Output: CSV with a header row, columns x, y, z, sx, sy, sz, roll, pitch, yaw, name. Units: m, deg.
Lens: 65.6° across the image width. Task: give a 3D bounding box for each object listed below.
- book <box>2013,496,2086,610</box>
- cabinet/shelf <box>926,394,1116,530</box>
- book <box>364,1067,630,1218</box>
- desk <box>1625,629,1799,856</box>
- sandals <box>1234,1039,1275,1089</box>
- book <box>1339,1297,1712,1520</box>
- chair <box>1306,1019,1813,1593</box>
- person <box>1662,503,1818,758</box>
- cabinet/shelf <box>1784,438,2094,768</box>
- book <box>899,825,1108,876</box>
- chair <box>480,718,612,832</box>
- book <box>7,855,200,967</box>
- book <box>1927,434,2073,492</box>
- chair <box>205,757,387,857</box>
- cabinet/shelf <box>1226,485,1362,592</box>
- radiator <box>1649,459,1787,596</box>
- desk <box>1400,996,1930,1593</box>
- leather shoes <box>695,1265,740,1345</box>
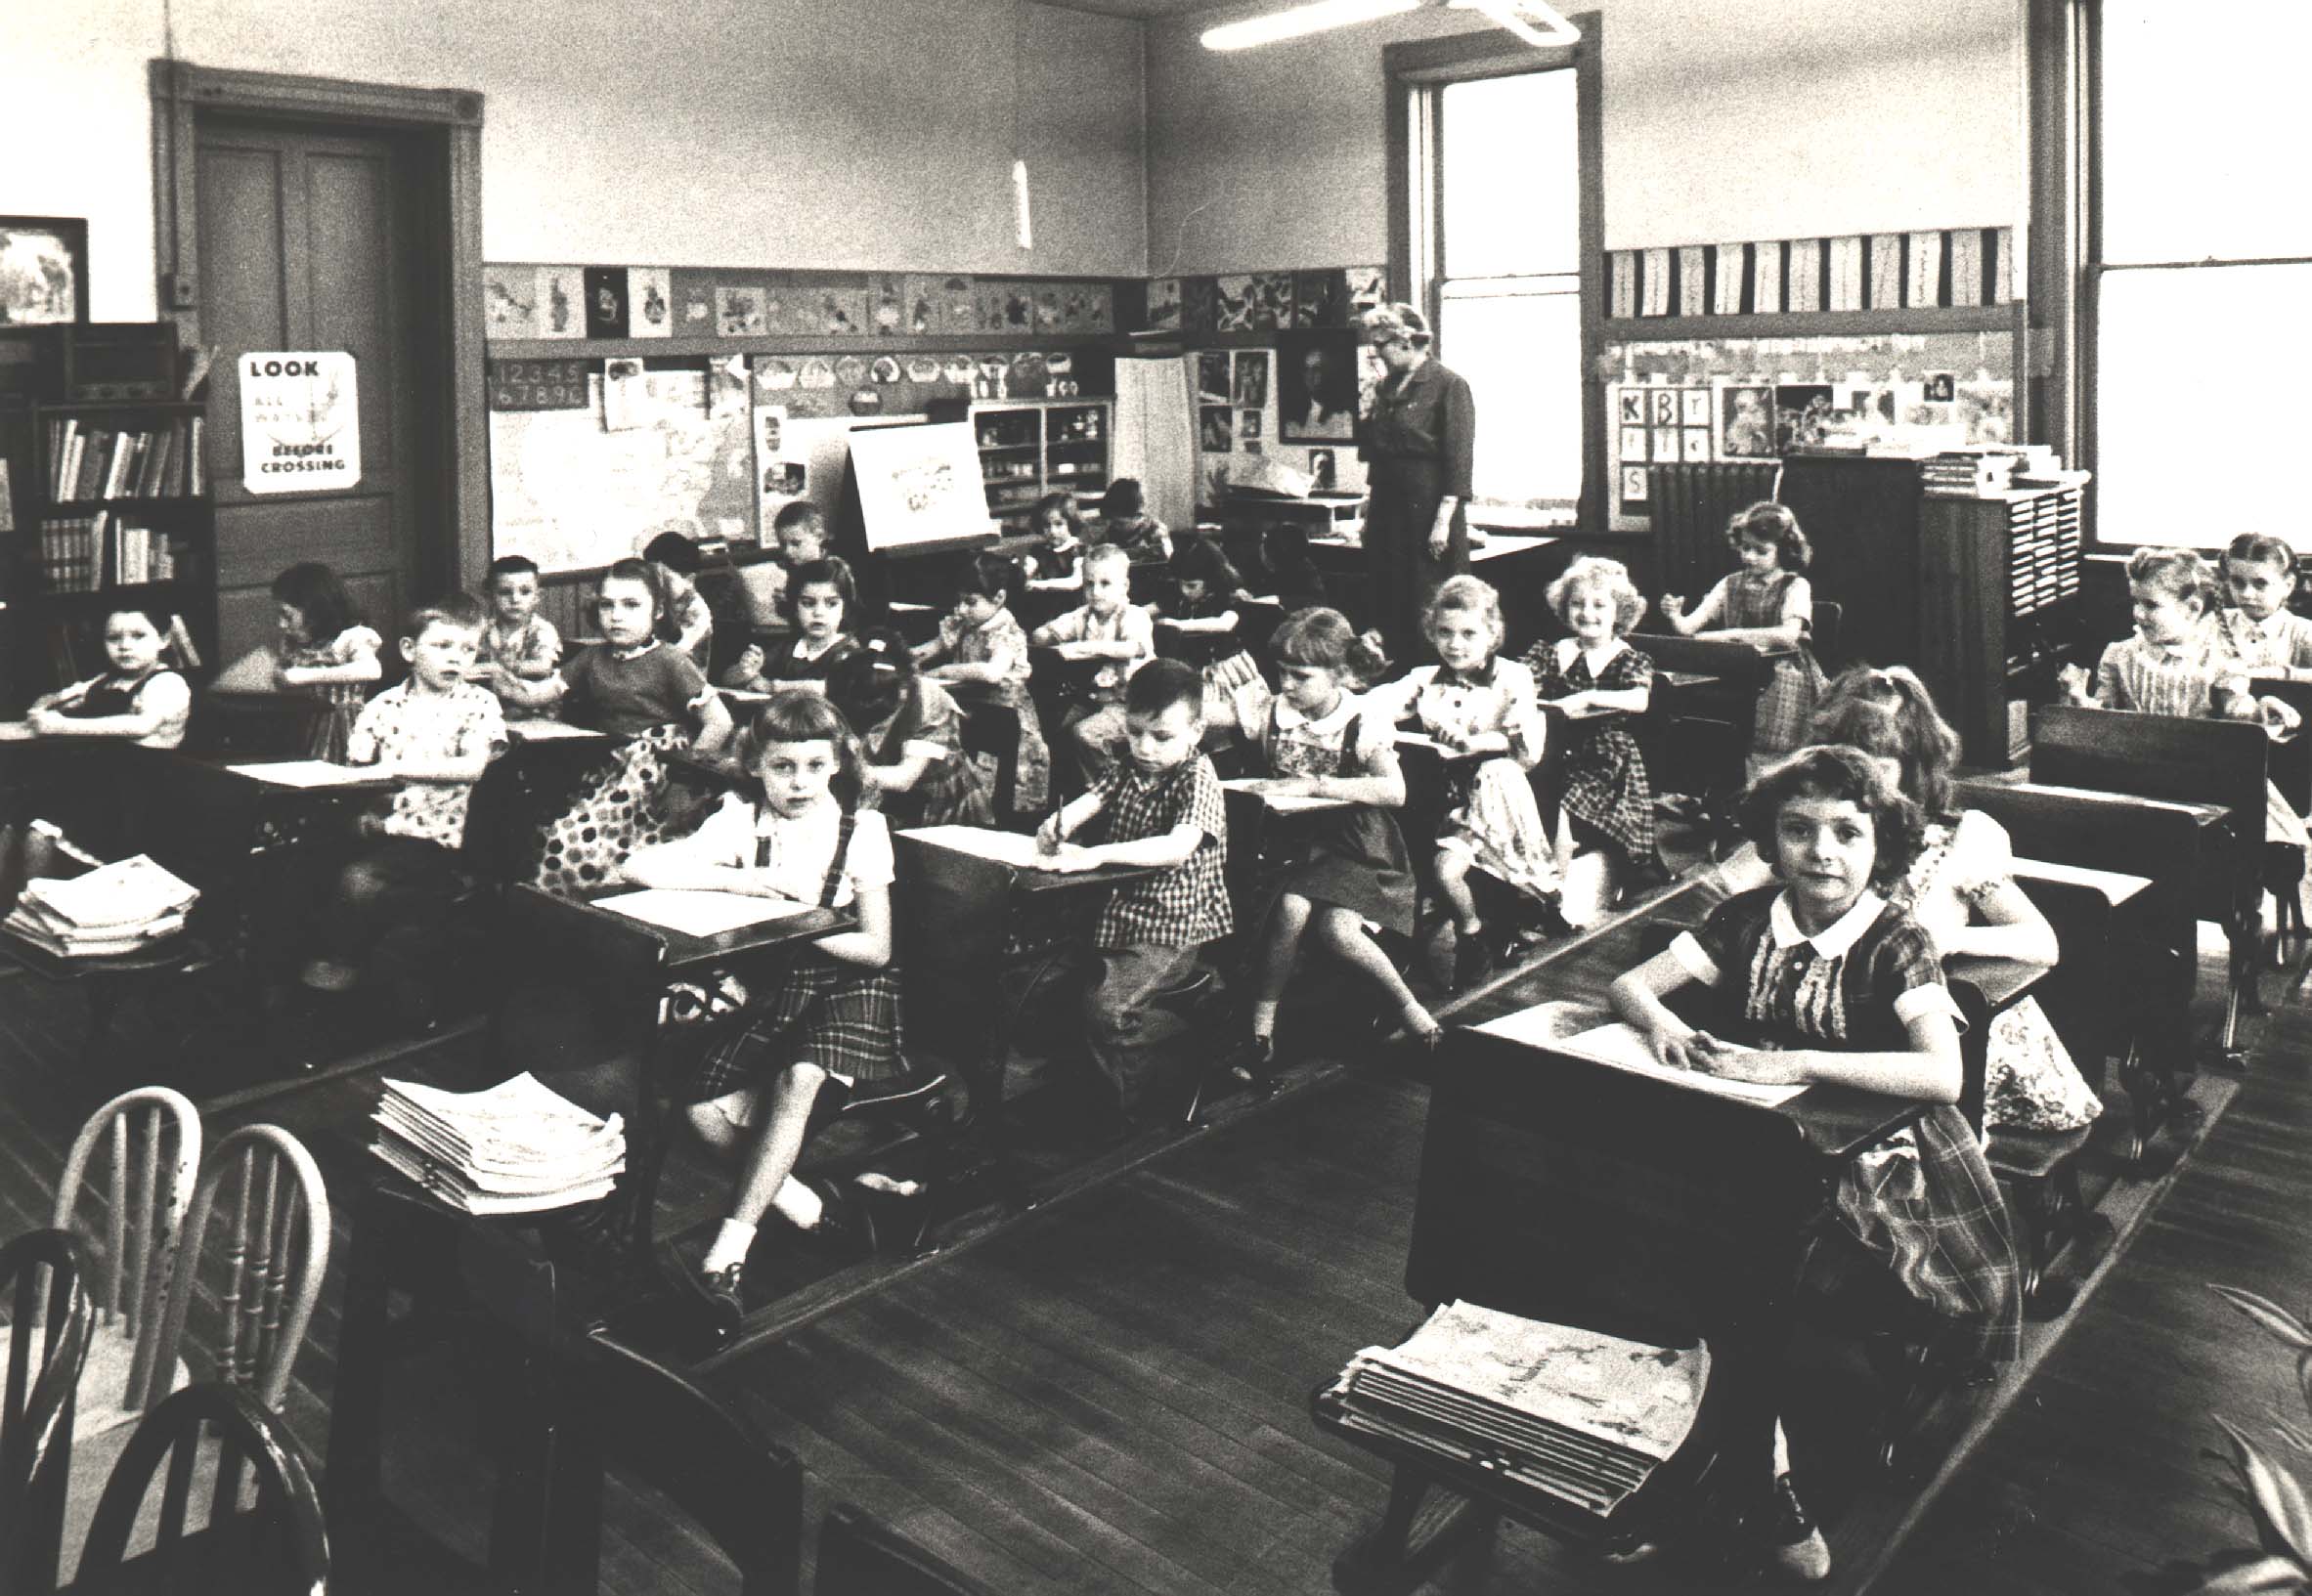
x,y,z,sx,sy,sz,roll,pitch,yaw,name
3.772,-1.039,7.609,0.464,0.451,0.238,-9,9,-40,book
-0.787,-1.804,9.698,0.936,0.893,0.303,-7,8,-43,cabinet/shelf
-1.208,0.633,3.307,0.271,0.139,0.343,15,12,41,book
1.968,-0.220,6.354,0.716,0.849,0.603,8,15,39,desk
0.265,0.734,4.934,0.030,0.116,0.123,21,4,-42,sandals
0.540,0.881,2.612,0.287,0.107,0.289,-6,7,-41,book
0.601,0.800,2.976,0.616,0.846,0.891,2,0,34,chair
2.353,-0.731,7.212,0.588,0.857,1.976,3,15,18,person
3.505,-0.783,7.883,0.636,1.106,0.864,-14,14,-37,cabinet/shelf
-0.352,0.106,4.291,0.489,0.069,0.358,2,15,12,book
-1.748,-0.118,5.137,0.423,0.299,0.232,15,47,-18,chair
-2.659,0.274,4.487,0.286,0.109,0.284,-4,12,-45,book
3.579,-1.388,7.601,0.623,0.174,0.310,-9,16,-27,book
-2.384,0.032,5.029,0.398,0.255,0.475,-10,17,-30,chair
0.757,-1.325,9.634,0.974,0.655,0.571,1,11,4,cabinet/shelf
2.550,-1.228,8.106,0.131,0.759,0.691,-15,19,-43,radiator
0.839,0.863,3.254,0.825,1.072,0.887,3,4,37,desk
-0.922,1.074,3.780,0.047,0.134,0.095,-4,-6,-22,leather shoes
